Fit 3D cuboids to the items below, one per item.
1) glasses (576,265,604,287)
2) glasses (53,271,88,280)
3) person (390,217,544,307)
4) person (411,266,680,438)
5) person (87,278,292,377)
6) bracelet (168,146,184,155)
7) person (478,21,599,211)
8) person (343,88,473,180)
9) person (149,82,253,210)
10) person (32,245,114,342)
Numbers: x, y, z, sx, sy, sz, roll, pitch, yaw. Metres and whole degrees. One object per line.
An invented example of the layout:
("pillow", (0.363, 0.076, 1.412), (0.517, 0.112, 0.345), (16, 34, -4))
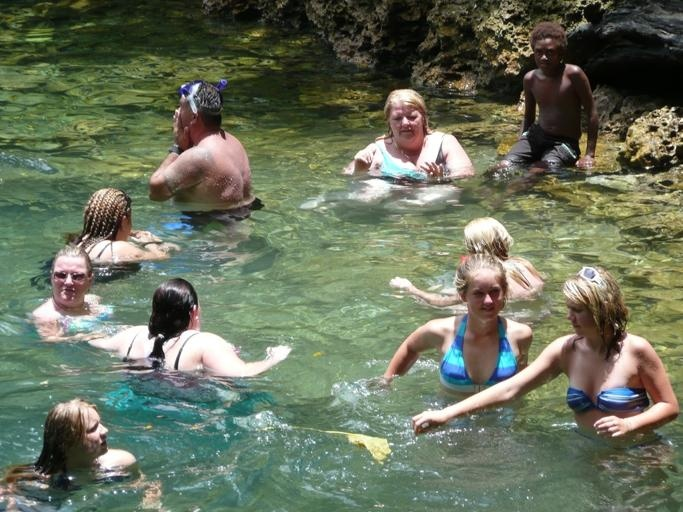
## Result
("glasses", (1.871, 0.151, 5.121), (0.148, 0.115, 0.190), (4, 10, -12))
("glasses", (-2.631, 0.190, 6.548), (0.273, 0.080, 0.045), (2, 13, -17))
("person", (1.163, 0.120, 7.065), (1.787, 0.929, 1.096), (-3, 18, 3))
("person", (1.763, 0.726, 5.092), (1.532, 1.267, 0.536), (10, 12, 17))
("person", (-1.477, 0.658, 6.127), (2.027, 0.701, 0.883), (4, 6, 33))
("bracelet", (-2.107, -1.348, 8.667), (0.172, 0.105, 0.170), (16, 23, 38))
("person", (3.064, -2.215, 9.863), (1.381, 2.251, 0.912), (10, 13, 11))
("person", (0.929, -1.665, 9.651), (1.911, 1.077, 0.933), (1, 18, 6))
("person", (-1.698, -1.359, 8.416), (1.210, 1.574, 0.572), (6, 13, -8))
("person", (-2.707, 0.398, 6.786), (0.573, 0.808, 1.033), (9, 6, 27))
